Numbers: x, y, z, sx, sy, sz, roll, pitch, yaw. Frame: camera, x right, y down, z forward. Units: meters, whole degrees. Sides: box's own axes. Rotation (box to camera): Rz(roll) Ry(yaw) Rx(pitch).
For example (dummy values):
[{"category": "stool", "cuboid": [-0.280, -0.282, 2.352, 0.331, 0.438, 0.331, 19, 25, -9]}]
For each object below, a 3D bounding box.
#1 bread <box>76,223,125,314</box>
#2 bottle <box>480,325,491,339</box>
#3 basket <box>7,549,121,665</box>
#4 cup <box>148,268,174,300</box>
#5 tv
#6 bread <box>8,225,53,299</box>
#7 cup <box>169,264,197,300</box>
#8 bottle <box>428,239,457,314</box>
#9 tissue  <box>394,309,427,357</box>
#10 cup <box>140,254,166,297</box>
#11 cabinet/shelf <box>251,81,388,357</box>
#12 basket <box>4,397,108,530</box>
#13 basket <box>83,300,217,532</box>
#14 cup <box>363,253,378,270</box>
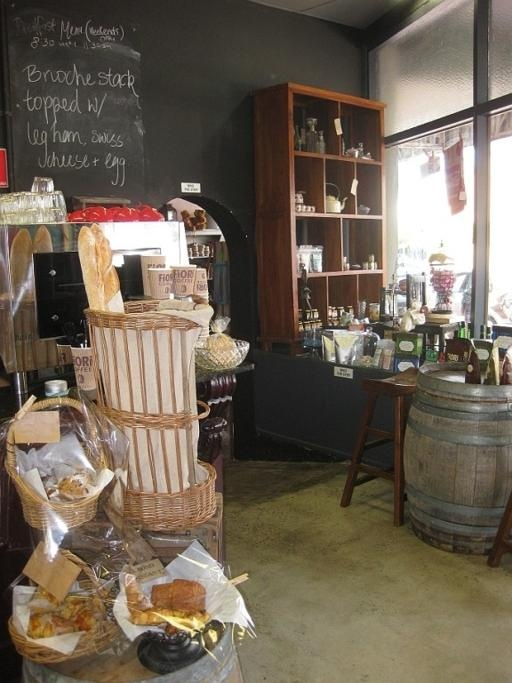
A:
[{"category": "bread", "cuboid": [-0.290, -0.132, 1.032, 0.040, 0.166, 0.098, -9, 4, 10]}, {"category": "bottle", "cuboid": [1.461, -0.056, 3.517, 0.037, 0.102, 0.081, -1, 7, -4]}, {"category": "basket", "cuboid": [-0.277, 0.353, 0.776, 0.134, 0.131, 0.155, -5, 7, -26]}, {"category": "cup", "cuboid": [-0.286, -0.168, 1.647, 0.096, 0.104, 0.099, 1, 10, 0]}, {"category": "tv", "cuboid": [-0.592, -0.148, 1.941, 0.091, 0.350, 0.379, 1, 5, 19]}, {"category": "bread", "cuboid": [-0.782, -0.274, 1.914, 0.140, 0.242, 0.029, -5, 7, -28]}, {"category": "cup", "cuboid": [-0.228, -0.183, 1.722, 0.074, 0.102, 0.086, -3, 6, -9]}, {"category": "bottle", "cuboid": [1.238, -0.429, 3.688, 0.165, 0.467, 0.260, 0, 7, 19]}, {"category": "tissue ", "cuboid": [0.983, -0.069, 3.518, 0.190, 0.311, 0.224, 0, 7, 16]}, {"category": "cup", "cuboid": [-0.342, -0.225, 1.840, 0.109, 0.127, 0.108, 1, 7, 0]}, {"category": "cabinet/shelf", "cuboid": [0.540, -0.961, 4.551, 1.216, 1.979, 0.530, -8, 9, -44]}, {"category": "basket", "cuboid": [-0.283, 0.153, 0.774, 0.141, 0.068, 0.206, -1, 52, -28]}, {"category": "basket", "cuboid": [-0.176, 0.155, 0.998, 0.227, 0.429, 0.181, -4, 7, -18]}, {"category": "cup", "cuboid": [0.954, -0.674, 4.796, 0.164, 0.170, 0.102, -1, 8, -3]}]
